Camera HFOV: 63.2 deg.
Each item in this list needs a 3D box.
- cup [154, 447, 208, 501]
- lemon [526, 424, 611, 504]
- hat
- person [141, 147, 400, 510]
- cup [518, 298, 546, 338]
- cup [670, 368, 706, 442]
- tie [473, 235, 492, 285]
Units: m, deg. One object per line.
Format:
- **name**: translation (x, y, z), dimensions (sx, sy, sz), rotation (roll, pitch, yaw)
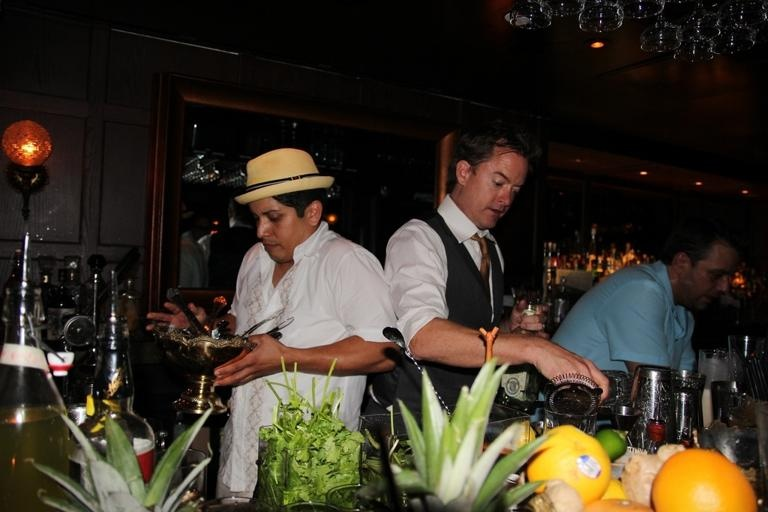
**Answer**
- **cup**: translation (-0.564, 0.622, 1.779), dimensions (0.105, 0.126, 0.117), rotation (3, -8, 0)
- **lemon**: translation (0.523, 0.586, 1.756), dimensions (0.227, 0.199, 0.076), rotation (3, -5, -9)
- **hat**: translation (-0.499, -0.421, 3.204), dimensions (0.575, 0.244, 0.473), rotation (-11, 10, -25)
- **person**: translation (-0.380, 0.308, 3.111), dimensions (0.763, 1.687, 0.800), rotation (4, -5, -15)
- **cup**: translation (0.658, 0.282, 2.788), dimensions (0.115, 0.107, 0.178), rotation (18, -26, -38)
- **cup**: translation (1.119, 0.550, 2.306), dimensions (0.104, 0.238, 0.345), rotation (-1, -7, 29)
- **tie**: translation (0.547, 0.020, 3.362), dimensions (0.051, 0.232, 0.132), rotation (-4, 0, 17)
